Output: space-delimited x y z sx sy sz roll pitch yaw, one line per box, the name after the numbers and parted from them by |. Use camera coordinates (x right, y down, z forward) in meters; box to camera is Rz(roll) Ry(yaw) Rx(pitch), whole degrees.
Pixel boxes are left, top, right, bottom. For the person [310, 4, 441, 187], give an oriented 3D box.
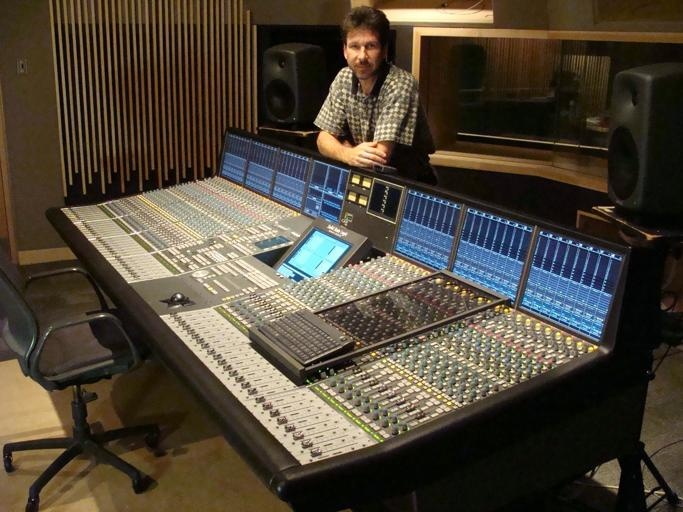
0.130 -0.846 3.013 0.754 1.037 0.960 8 27 17 | person

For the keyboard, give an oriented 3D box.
-0.142 0.279 1.792 0.240 0.054 0.330 -19 28 -40 | keyboard

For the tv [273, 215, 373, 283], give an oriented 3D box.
-0.126 -0.032 2.516 0.368 0.147 0.439 -19 31 -34 | tv
